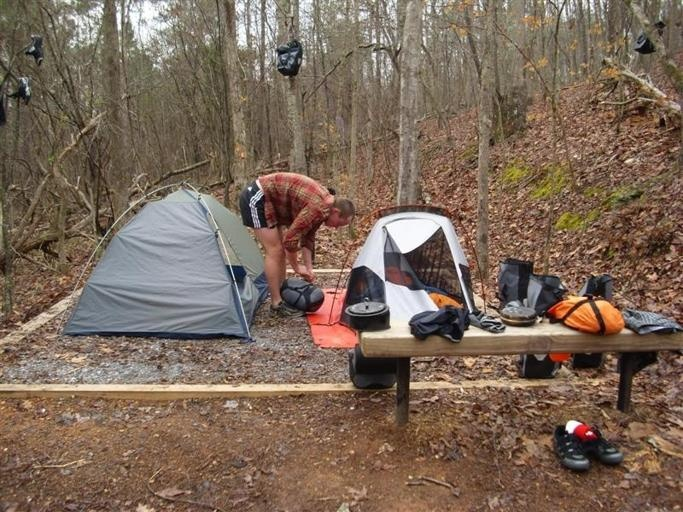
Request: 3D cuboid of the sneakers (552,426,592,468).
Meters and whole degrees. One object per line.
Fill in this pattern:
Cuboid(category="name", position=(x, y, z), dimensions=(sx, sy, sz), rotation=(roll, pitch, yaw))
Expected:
Cuboid(category="sneakers", position=(2.024, 1.691, 5.097), dimensions=(0.215, 0.209, 0.548), rotation=(0, 10, 0))

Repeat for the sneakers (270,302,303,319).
Cuboid(category="sneakers", position=(-0.720, 0.724, 7.477), dimensions=(0.483, 0.222, 0.171), rotation=(0, 3, 10))

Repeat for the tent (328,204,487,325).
Cuboid(category="tent", position=(0.854, 0.071, 7.167), dimensions=(1.274, 1.166, 1.453), rotation=(-2, 5, 4))

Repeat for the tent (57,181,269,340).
Cuboid(category="tent", position=(-2.061, 0.237, 6.954), dimensions=(1.692, 1.380, 2.063), rotation=(1, 6, -2))

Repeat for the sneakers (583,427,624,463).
Cuboid(category="sneakers", position=(2.286, 1.681, 5.004), dimensions=(0.295, 0.214, 0.209), rotation=(8, 16, 40))

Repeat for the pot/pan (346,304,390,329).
Cuboid(category="pot/pan", position=(0.238, 0.539, 5.093), dimensions=(0.259, 0.170, 0.266), rotation=(3, 11, 32))
